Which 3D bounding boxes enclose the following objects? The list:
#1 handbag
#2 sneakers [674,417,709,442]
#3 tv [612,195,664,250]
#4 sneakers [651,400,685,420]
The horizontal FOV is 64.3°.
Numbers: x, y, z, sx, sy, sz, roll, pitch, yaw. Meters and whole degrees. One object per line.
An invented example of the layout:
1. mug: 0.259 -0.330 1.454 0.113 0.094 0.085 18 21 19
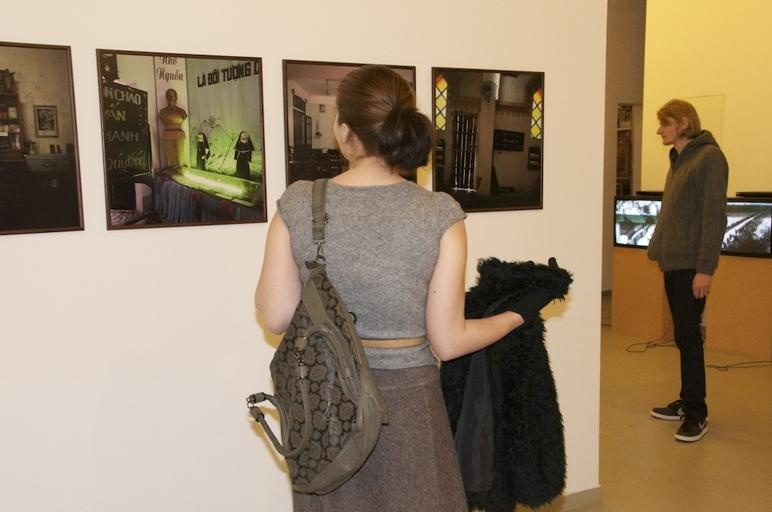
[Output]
1. handbag: -0.259 0.400 2.218 0.371 0.846 0.611 -13 30 -30
2. sneakers: 2.310 1.298 4.621 0.112 0.163 0.346 -4 -6 41
3. tv: 2.646 -0.361 6.404 0.510 0.530 0.280 13 21 43
4. sneakers: 2.270 1.225 4.888 0.285 0.136 0.101 6 7 39
